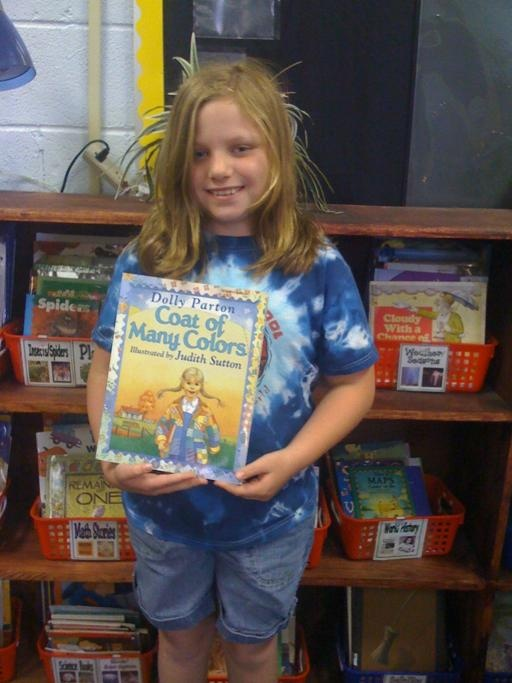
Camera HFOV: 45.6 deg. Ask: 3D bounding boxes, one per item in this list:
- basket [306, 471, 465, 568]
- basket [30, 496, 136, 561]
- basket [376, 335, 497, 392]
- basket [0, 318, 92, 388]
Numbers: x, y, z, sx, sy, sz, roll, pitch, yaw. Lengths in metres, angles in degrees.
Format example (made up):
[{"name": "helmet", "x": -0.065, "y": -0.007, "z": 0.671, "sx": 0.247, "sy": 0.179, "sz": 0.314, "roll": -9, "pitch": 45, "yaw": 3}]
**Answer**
[{"name": "basket", "x": 0.354, "y": 0.474, "z": 1.633, "sx": 0.326, "sy": 0.103, "sz": 0.220, "roll": -3, "pitch": 21, "yaw": -5}, {"name": "basket", "x": -0.442, "y": 0.478, "z": 1.577, "sx": 0.224, "sy": 0.077, "sz": 0.142, "roll": 3, "pitch": 0, "yaw": -9}, {"name": "basket", "x": 0.456, "y": 0.057, "z": 1.570, "sx": 0.274, "sy": 0.110, "sz": 0.172, "roll": 0, "pitch": 12, "yaw": 6}, {"name": "basket", "x": -0.497, "y": 0.032, "z": 1.461, "sx": 0.195, "sy": 0.078, "sz": 0.134, "roll": 0, "pitch": 9, "yaw": -12}]
